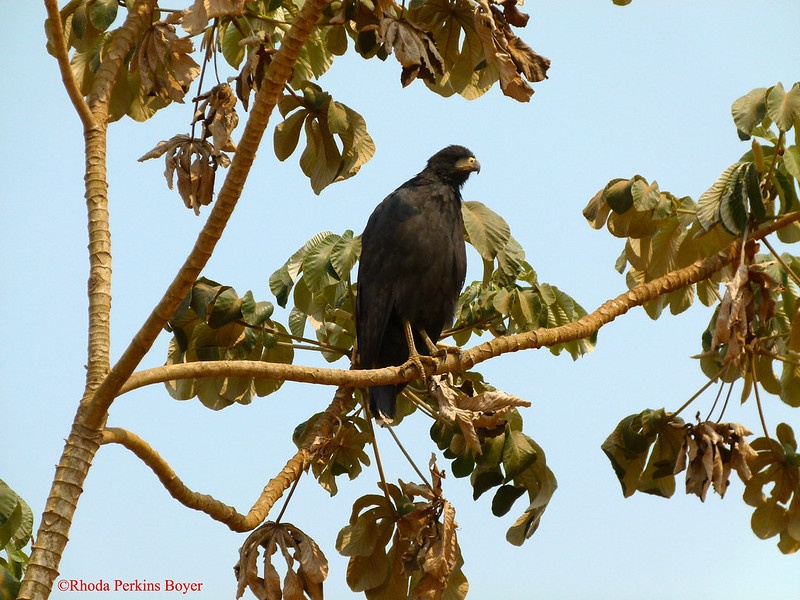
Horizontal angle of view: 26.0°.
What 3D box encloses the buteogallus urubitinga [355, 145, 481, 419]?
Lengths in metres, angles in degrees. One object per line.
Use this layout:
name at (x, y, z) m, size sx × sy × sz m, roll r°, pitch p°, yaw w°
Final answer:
buteogallus urubitinga at (0.141, -0.163, 11.370) m, size 0.870 × 1.723 × 0.616 m, roll -17°, pitch -24°, yaw 42°
